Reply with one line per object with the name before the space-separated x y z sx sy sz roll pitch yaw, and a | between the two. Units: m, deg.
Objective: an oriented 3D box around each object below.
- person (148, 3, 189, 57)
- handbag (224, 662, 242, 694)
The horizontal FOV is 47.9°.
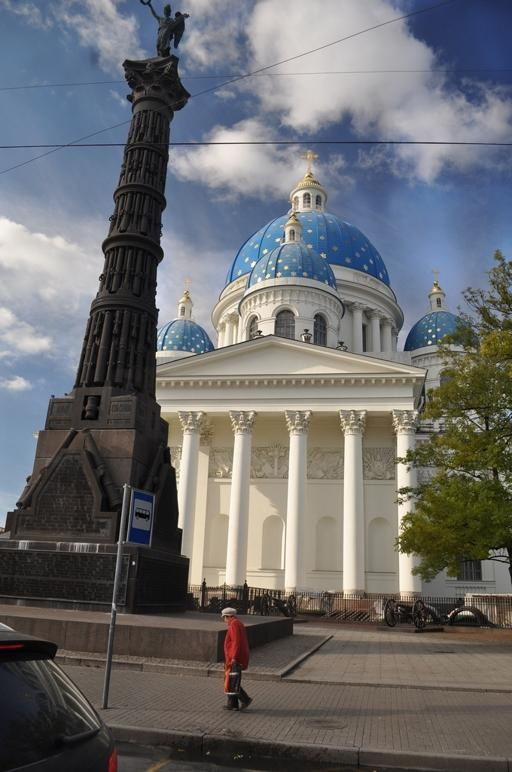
person | -2.773 -11.712 19.013 0.877 2.380 1.020 8 -15 -20
handbag | -0.281 3.742 7.311 0.180 0.375 0.129 3 -14 -2
